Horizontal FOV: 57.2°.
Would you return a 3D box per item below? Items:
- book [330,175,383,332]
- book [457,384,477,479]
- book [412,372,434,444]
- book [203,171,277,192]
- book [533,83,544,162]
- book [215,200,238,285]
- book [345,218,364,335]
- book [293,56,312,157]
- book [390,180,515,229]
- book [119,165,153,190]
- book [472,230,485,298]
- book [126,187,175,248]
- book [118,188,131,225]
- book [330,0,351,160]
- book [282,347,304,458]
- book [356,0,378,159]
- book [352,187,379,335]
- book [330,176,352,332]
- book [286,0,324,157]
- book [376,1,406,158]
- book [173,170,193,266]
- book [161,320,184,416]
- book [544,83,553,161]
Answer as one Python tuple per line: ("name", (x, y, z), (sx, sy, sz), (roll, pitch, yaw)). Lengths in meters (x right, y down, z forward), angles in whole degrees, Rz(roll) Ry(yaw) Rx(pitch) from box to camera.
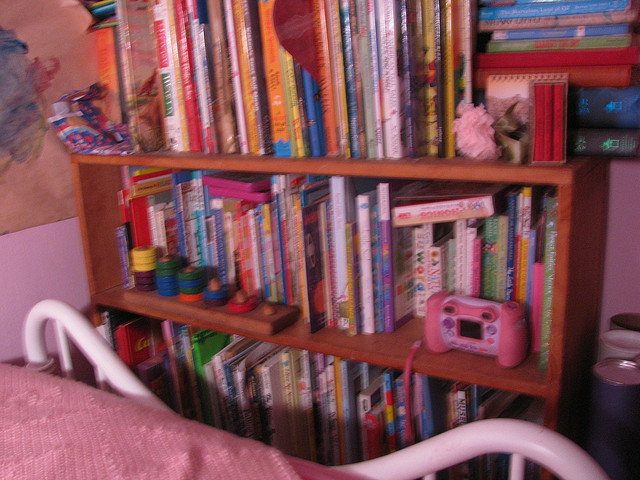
("book", (0.083, 0.022, 1.305), (0.076, 0.336, 0.359), (4, 12, 22))
("book", (0.325, 0.429, 1.300), (0.038, 0.235, 0.031), (-5, 15, -3))
("book", (0.224, 0.369, 1.279), (0.046, 0.230, 0.123), (-1, 15, 9))
("book", (-0.186, -0.144, 1.448), (0.088, 0.042, 0.222), (-13, 16, -43))
("book", (0.395, -0.211, 1.061), (0.018, 0.138, 0.031), (1, 16, 17))
("book", (-0.233, 0.007, 1.489), (0.067, 0.220, 0.025), (6, 18, 31))
("book", (0.077, 0.083, 1.305), (0.034, 0.264, 0.047), (-3, 15, 3))
("book", (-0.037, -0.282, 1.244), (0.031, 0.206, 0.027), (0, 13, 1))
("book", (0.284, -0.079, 1.255), (0.229, 0.085, 0.182), (3, 13, 22))
("book", (-0.497, -0.171, 1.593), (0.070, 0.052, 0.037), (-13, 20, -43))
("book", (0.336, 0.052, 1.242), (0.018, 0.137, 0.040), (7, 18, 34))
("book", (-0.467, -0.058, 1.601), (0.061, 0.133, 0.179), (7, 17, 39))
("book", (-0.539, -0.093, 1.611), (0.043, 0.099, 0.028), (9, 20, 40))
("book", (0.056, -0.340, 1.233), (0.032, 0.300, 0.033), (-7, 18, 2))
("book", (-0.068, 0.406, 1.459), (0.044, 0.289, 0.041), (-17, 20, -40))
("book", (0.097, -0.330, 1.212), (0.020, 0.318, 0.036), (-8, 16, -16))
("book", (0.103, 0.053, 1.307), (0.047, 0.320, 0.057), (0, 16, 13))
("book", (0.045, 0.034, 1.323), (0.044, 0.355, 0.060), (-3, 15, 5))
("book", (-0.034, -0.346, 1.261), (0.055, 0.328, 0.041), (-2, 15, 5))
("book", (0.142, -0.324, 1.192), (0.025, 0.310, 0.053), (-17, 20, -40))
("book", (-0.346, -0.054, 1.522), (0.060, 0.249, 0.028), (-8, 16, -17))
("book", (-0.389, 0.337, 1.562), (0.027, 0.272, 0.047), (-8, 16, -15))
("book", (0.409, -0.212, 1.056), (0.016, 0.137, 0.028), (1, 16, 16))
